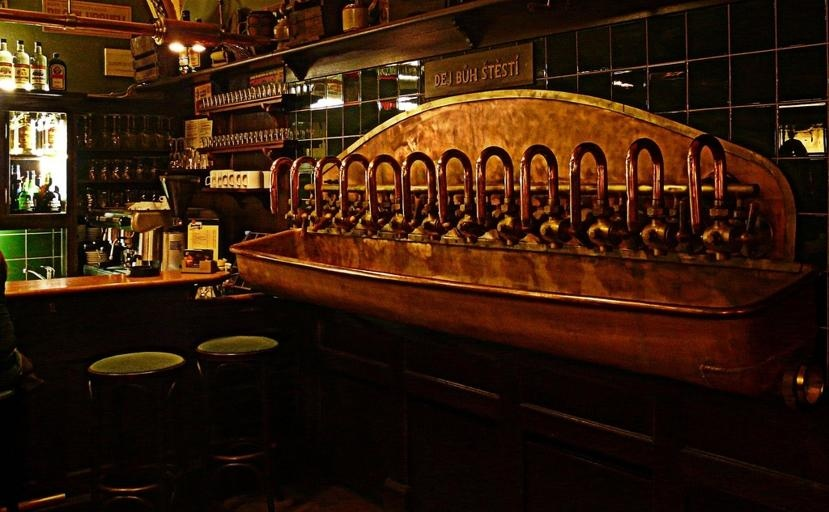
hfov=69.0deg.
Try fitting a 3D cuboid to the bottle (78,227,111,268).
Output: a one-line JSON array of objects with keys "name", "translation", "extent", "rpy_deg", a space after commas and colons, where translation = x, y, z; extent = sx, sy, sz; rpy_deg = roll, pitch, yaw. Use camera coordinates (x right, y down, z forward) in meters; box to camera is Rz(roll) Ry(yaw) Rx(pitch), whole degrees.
[{"name": "bottle", "translation": [-3.403, -0.095, 6.559], "extent": [0.361, 0.457, 0.273], "rpy_deg": [3, 10, 37]}]

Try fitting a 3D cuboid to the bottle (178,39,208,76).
[{"name": "bottle", "translation": [-2.141, -1.902, 5.934], "extent": [0.266, 0.275, 0.465], "rpy_deg": [-7, 9, -19]}]
